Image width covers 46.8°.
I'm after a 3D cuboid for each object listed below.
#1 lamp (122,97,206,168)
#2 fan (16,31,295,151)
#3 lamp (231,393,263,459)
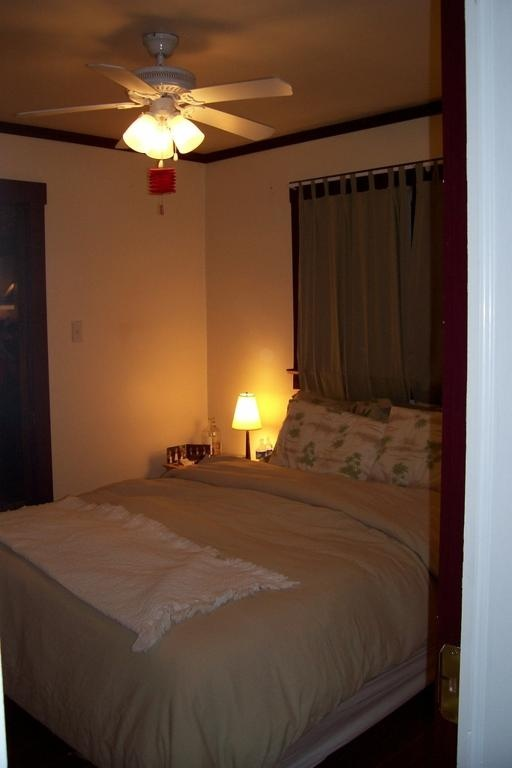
[{"bbox_3d":[-0.354,-0.934,2.233,0.224,0.145,0.231,-1,9,-10],"label":"lamp"},{"bbox_3d":[-0.284,-1.031,2.152,0.754,0.333,0.596,-5,7,-8],"label":"fan"},{"bbox_3d":[-0.059,0.372,4.266,0.176,0.657,0.181,8,20,26],"label":"lamp"}]
